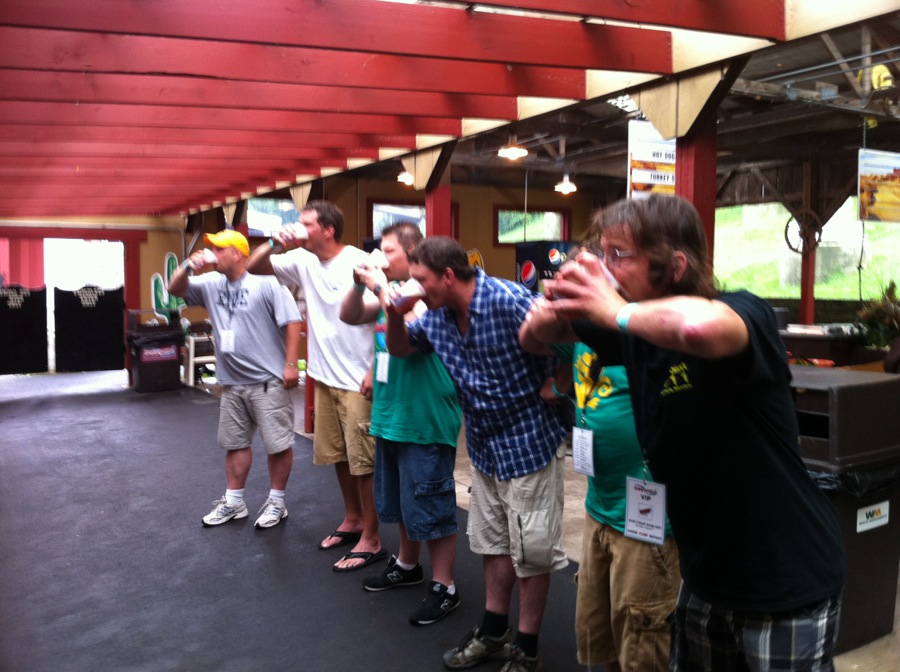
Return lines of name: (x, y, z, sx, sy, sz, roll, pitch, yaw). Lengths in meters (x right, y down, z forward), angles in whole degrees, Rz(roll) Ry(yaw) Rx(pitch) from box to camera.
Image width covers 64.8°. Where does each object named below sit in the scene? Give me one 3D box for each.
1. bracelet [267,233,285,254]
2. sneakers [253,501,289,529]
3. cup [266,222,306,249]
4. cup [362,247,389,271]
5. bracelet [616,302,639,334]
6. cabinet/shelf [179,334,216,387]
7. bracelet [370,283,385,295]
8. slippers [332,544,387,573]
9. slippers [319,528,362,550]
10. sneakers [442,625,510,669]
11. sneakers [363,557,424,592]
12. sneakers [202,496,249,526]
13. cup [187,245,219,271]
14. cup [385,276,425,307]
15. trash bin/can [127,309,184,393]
bracelet: (-1.139, -0.590, 4.698, 0.126, 0.137, 0.127, 15, 21, 41)
sneakers: (-1.343, 1.351, 5.383, 0.111, 0.150, 0.303, -2, -2, 15)
cup: (-1.028, -0.613, 4.604, 0.203, 0.146, 0.211, -18, -6, -2)
cup: (-0.408, -0.431, 4.024, 0.099, 0.107, 0.134, 12, 19, 40)
bracelet: (0.498, -0.051, 2.043, 0.042, 0.087, 0.079, 8, -21, 16)
cabinet/shelf: (-4.299, 0.432, 12.091, 0.885, 0.957, 0.602, 4, -6, -43)
bracelet: (-0.380, -0.251, 3.787, 0.049, 0.084, 0.137, -1, 4, -18)
slippers: (-0.594, 1.468, 4.694, 0.287, 0.094, 0.122, 3, -6, -41)
slippers: (-0.776, 1.415, 5.007, 0.292, 0.082, 0.117, 6, -9, -44)
sneakers: (0.133, 1.573, 3.663, 0.392, 0.188, 0.149, -4, 0, -19)
sneakers: (-0.351, 1.489, 4.472, 0.373, 0.196, 0.149, 2, -6, -16)
sneakers: (-1.700, 1.350, 5.534, 0.143, 0.229, 0.414, -4, -5, 39)
cup: (-1.775, -0.546, 5.137, 0.216, 0.155, 0.384, -4, 7, -23)
cup: (-0.236, -0.235, 3.635, 0.183, 0.120, 0.198, -12, -35, -8)
trash bin/can: (-5.010, 0.308, 11.959, 1.041, 1.425, 1.079, -1, 0, -37)
